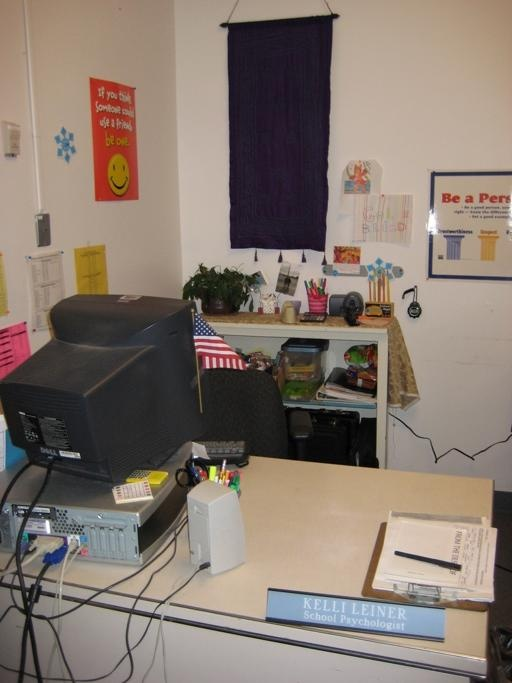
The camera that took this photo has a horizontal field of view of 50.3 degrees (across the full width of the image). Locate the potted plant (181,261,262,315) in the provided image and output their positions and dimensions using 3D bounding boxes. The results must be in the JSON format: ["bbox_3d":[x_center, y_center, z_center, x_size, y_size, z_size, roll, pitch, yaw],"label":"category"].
[{"bbox_3d":[-0.208,-0.261,3.001,0.356,0.255,0.390,3,-2,10],"label":"potted plant"}]

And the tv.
[{"bbox_3d":[-0.304,0.065,1.311,0.408,0.437,0.430,7,19,25],"label":"tv"}]

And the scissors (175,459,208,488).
[{"bbox_3d":[-0.157,0.335,1.375,0.060,0.032,0.082,34,71,20],"label":"scissors"}]

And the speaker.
[{"bbox_3d":[-0.079,0.382,1.107,0.093,0.176,0.080,-11,13,-39],"label":"speaker"}]

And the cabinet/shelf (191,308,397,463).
[{"bbox_3d":[0.203,0.195,2.426,0.797,0.764,0.271,1,7,13],"label":"cabinet/shelf"}]
